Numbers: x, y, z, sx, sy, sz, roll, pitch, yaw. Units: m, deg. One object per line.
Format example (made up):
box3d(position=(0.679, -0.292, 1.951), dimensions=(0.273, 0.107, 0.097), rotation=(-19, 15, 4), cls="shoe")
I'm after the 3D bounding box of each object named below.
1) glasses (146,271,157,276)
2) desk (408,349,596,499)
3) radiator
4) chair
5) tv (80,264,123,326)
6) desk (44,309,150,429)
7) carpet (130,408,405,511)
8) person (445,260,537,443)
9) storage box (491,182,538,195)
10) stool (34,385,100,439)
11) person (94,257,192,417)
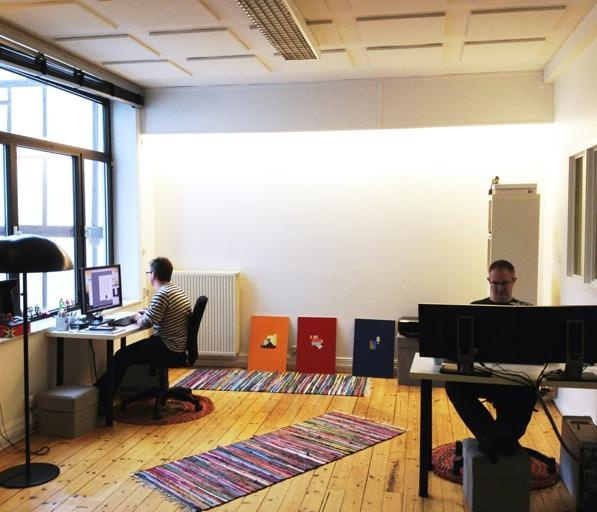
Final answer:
box3d(position=(-1.473, 0.169, 5.147), dimensions=(0.087, 0.062, 0.049), rotation=(1, 0, 13), cls="glasses")
box3d(position=(1.109, 0.946, 3.129), dimensions=(1.032, 0.678, 1.019), rotation=(1, 4, 9), cls="desk")
box3d(position=(-1.043, 0.621, 5.738), dimensions=(1.043, 1.047, 0.139), rotation=(0, 2, 5), cls="radiator")
box3d(position=(-1.256, 0.968, 5.354), dimensions=(0.979, 1.476, 1.027), rotation=(2, -4, -13), cls="chair")
box3d(position=(-1.925, 0.375, 5.005), dimensions=(0.160, 0.528, 0.511), rotation=(0, 2, 16), cls="tv")
box3d(position=(-1.830, 0.743, 4.884), dimensions=(0.669, 0.916, 1.361), rotation=(1, 3, 6), cls="desk")
box3d(position=(-0.196, 1.527, 4.026), dimensions=(1.925, 0.024, 0.915), rotation=(-4, 6, -42), cls="carpet")
box3d(position=(1.409, 0.683, 3.763), dimensions=(0.673, 1.340, 0.723), rotation=(7, -15, -4), cls="person")
box3d(position=(2.140, -0.661, 5.163), dimensions=(0.415, 0.122, 0.188), rotation=(1, 5, 15), cls="storage box")
box3d(position=(-1.987, 1.282, 4.470), dimensions=(0.390, 0.389, 0.426), rotation=(0, 2, 14), cls="stool")
box3d(position=(-1.493, 0.718, 4.926), dimensions=(0.870, 1.372, 0.591), rotation=(3, -5, 9), cls="person")
